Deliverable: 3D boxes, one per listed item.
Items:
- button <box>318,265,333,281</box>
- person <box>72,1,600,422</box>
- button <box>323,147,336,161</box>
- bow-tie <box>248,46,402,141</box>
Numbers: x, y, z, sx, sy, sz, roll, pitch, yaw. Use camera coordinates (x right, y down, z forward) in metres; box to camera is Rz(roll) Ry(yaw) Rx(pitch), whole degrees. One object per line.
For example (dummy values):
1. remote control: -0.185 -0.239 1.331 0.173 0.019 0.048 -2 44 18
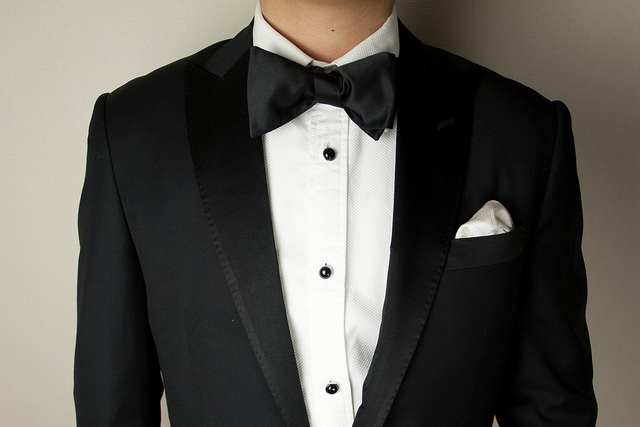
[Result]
1. button: 0.014 0.166 1.811 0.040 0.034 0.027 -1 -28 3
2. person: -0.008 0.030 1.856 1.254 1.814 0.632 0 6 0
3. button: 0.026 -0.166 1.836 0.035 0.029 0.017 1 -27 -1
4. bow-tie: 0.004 -0.327 1.801 0.408 0.216 0.135 2 -28 -3
